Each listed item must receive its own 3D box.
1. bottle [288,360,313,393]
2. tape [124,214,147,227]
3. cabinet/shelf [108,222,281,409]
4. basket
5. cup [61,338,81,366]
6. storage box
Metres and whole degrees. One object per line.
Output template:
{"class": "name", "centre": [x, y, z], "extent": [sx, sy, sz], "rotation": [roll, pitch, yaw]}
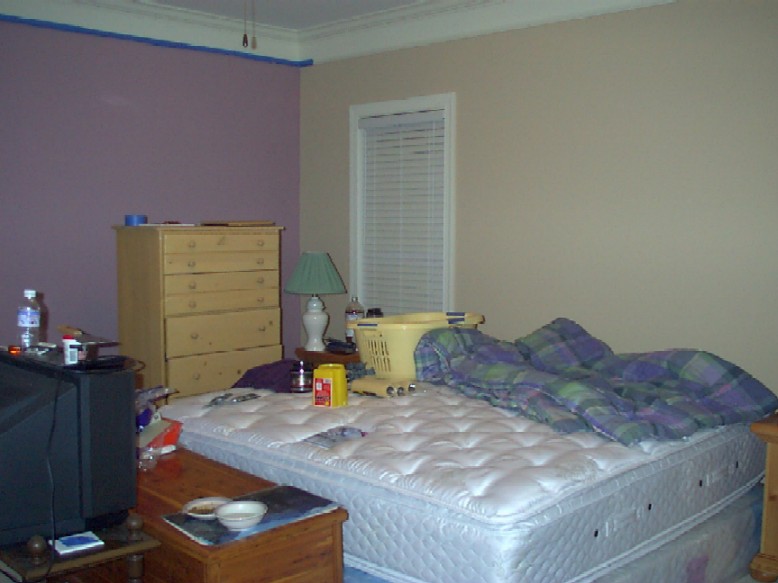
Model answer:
{"class": "bottle", "centre": [-0.454, 0.463, 3.315], "extent": [0.151, 0.148, 0.145], "rotation": [0, -2, -4]}
{"class": "tape", "centre": [-1.837, -0.512, 4.450], "extent": [0.116, 0.064, 0.113], "rotation": [1, 1, -36]}
{"class": "cabinet/shelf", "centre": [-1.358, 0.094, 4.549], "extent": [1.180, 1.244, 0.546], "rotation": [-10, 16, -27]}
{"class": "basket", "centre": [0.037, 0.334, 3.528], "extent": [0.497, 0.277, 0.562], "rotation": [0, 2, 41]}
{"class": "cup", "centre": [-1.011, 0.184, 1.962], "extent": [0.055, 0.071, 0.137], "rotation": [-10, 15, -28]}
{"class": "storage box", "centre": [0.167, 0.308, 3.691], "extent": [0.453, 0.225, 0.568], "rotation": [-1, 0, 42]}
